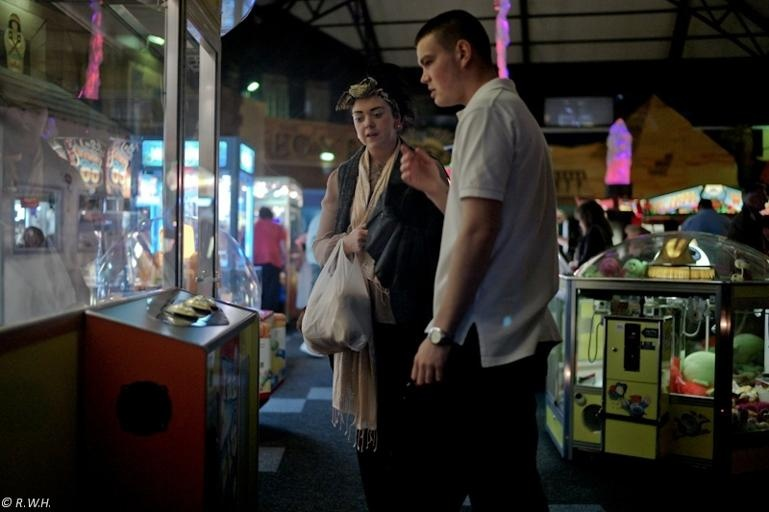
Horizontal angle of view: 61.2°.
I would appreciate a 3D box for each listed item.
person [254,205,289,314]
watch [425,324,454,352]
[{"bbox_3d":[-1.430,0.052,7.939,0.377,1.286,0.308,3,3,-13],"label":"person"},{"bbox_3d":[0.201,0.298,2.387,0.079,0.048,0.079,27,-8,32],"label":"watch"}]
